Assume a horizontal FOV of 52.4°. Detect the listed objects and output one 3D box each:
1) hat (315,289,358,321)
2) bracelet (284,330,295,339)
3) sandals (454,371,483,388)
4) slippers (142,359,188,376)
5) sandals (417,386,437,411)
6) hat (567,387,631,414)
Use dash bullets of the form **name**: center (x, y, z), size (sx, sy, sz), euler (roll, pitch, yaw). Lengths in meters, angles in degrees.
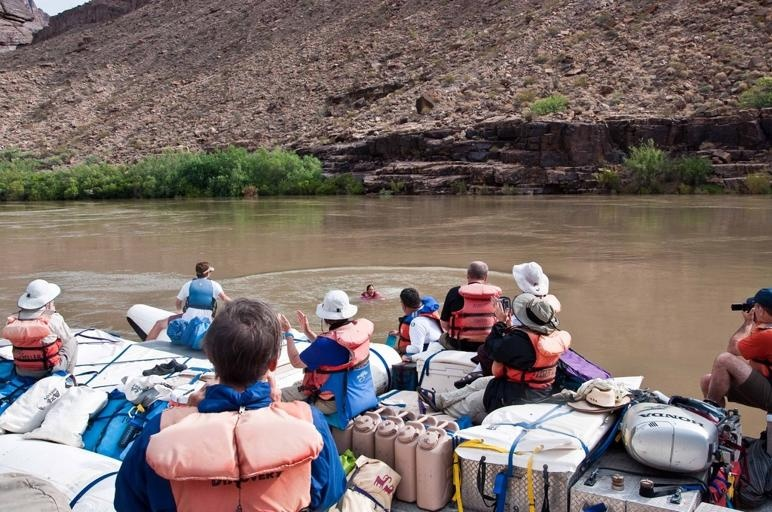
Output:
- **hat**: center (-0.787, 0.796, 12.235), size (0.519, 0.241, 0.505), euler (6, 18, 24)
- **bracelet**: center (-1.565, 1.258, 12.450), size (0.125, 0.074, 0.165), euler (8, -10, -44)
- **sandals**: center (1.385, 2.086, 13.168), size (0.552, 0.149, 0.202), euler (-31, 13, 19)
- **slippers**: center (-3.863, 1.979, 13.674), size (0.788, 0.250, 0.274), euler (-2, 9, -9)
- **sandals**: center (0.695, 2.377, 12.955), size (0.239, 0.474, 0.174), euler (-22, -6, 13)
- **hat**: center (3.209, 2.211, 11.771), size (0.537, 0.154, 0.530), euler (-6, 9, 16)
